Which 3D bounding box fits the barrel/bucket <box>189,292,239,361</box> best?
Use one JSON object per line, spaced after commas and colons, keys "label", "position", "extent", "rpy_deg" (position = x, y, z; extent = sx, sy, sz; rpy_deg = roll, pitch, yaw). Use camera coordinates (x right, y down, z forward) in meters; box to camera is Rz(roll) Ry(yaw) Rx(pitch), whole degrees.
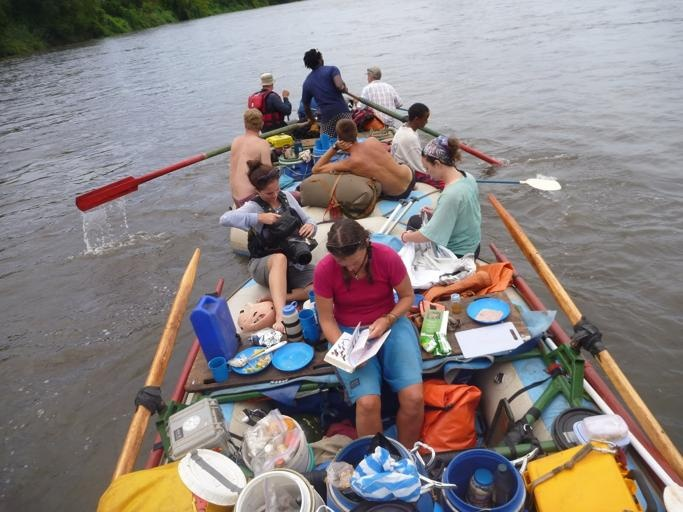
{"label": "barrel/bucket", "position": [-1.369, 0.778, 5.419], "extent": [0.339, 0.839, 0.571], "rpy_deg": [-8, 30, 9]}

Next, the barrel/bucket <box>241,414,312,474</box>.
{"label": "barrel/bucket", "position": [-0.538, 1.653, 4.374], "extent": [0.537, 0.503, 0.448], "rpy_deg": [8, 57, 11]}

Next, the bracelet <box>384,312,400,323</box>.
{"label": "bracelet", "position": [0.489, 0.602, 4.929], "extent": [0.097, 0.037, 0.105], "rpy_deg": [23, 3, -7]}

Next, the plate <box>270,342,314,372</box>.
{"label": "plate", "position": [-0.520, 1.040, 5.223], "extent": [0.326, 0.042, 0.292], "rpy_deg": [-11, 35, -13]}

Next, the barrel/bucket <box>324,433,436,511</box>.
{"label": "barrel/bucket", "position": [0.317, 1.850, 4.204], "extent": [0.819, 0.695, 0.635], "rpy_deg": [-10, 44, 8]}

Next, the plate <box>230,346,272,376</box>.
{"label": "plate", "position": [-0.938, 1.080, 5.163], "extent": [0.329, 0.069, 0.290], "rpy_deg": [-8, 36, -8]}

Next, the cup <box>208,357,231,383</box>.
{"label": "cup", "position": [-1.237, 1.144, 5.132], "extent": [0.185, 0.180, 0.262], "rpy_deg": [-3, 25, -1]}

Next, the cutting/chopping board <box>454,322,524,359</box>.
{"label": "cutting/chopping board", "position": [1.502, 0.832, 5.115], "extent": [0.587, 0.020, 0.314], "rpy_deg": [-11, 41, -2]}

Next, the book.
{"label": "book", "position": [0.109, 0.870, 4.707], "extent": [0.489, 0.199, 0.524], "rpy_deg": [14, 35, 30]}

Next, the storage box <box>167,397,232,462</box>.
{"label": "storage box", "position": [-1.274, 1.506, 4.369], "extent": [0.545, 0.200, 0.489], "rpy_deg": [-19, 49, 2]}

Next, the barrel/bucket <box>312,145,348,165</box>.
{"label": "barrel/bucket", "position": [-0.192, -1.653, 8.310], "extent": [0.567, 0.201, 0.535], "rpy_deg": [-20, 9, 3]}
